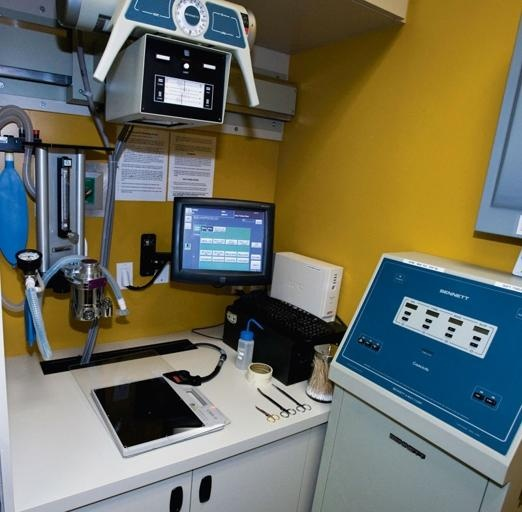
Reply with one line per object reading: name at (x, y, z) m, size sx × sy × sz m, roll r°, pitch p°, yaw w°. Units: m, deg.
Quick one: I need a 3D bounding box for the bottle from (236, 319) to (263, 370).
bottle at (-0.056, 0.355, 1.692) m, size 0.091 × 0.206 × 0.080 m, roll 0°, pitch 10°, yaw -39°

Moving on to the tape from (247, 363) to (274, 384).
tape at (-0.008, 0.432, 1.590) m, size 0.063 × 0.045 × 0.070 m, roll 1°, pitch 7°, yaw -4°

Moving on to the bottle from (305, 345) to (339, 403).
bottle at (0.208, 0.414, 1.532) m, size 0.069 × 0.191 × 0.110 m, roll 9°, pitch 8°, yaw 25°

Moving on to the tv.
tv at (-0.152, -0.057, 1.752) m, size 0.411 × 0.343 × 0.046 m, roll 1°, pitch 11°, yaw -14°
